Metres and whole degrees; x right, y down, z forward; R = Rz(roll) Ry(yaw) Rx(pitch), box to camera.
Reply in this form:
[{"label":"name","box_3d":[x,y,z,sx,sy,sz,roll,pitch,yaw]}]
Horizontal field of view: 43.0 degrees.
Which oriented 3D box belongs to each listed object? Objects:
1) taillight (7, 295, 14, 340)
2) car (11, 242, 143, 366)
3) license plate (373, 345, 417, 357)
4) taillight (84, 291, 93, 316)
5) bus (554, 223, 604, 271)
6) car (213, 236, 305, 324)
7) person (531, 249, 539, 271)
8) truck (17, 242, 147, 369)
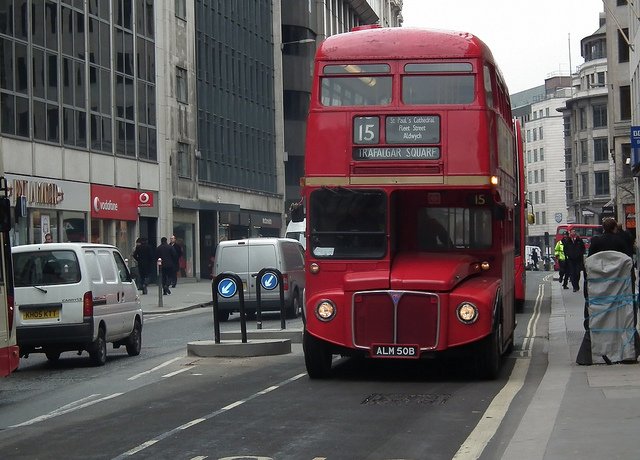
[{"label":"taillight","box_3d":[-4.410,1.228,11.610,0.051,0.600,0.219,-2,-2,-4]},{"label":"car","box_3d":[-4.533,1.314,15.939,1.443,1.713,2.905,-2,-1,14]},{"label":"license plate","box_3d":[1.070,1.759,11.731,0.631,0.193,0.027,-4,-2,7]},{"label":"taillight","box_3d":[-4.163,1.336,14.655,0.070,0.436,0.174,-4,-2,42]},{"label":"bus","box_3d":[26.787,1.698,83.798,8.373,5.086,2.631,0,3,-27]},{"label":"car","box_3d":[-1.573,1.510,25.342,2.277,2.511,4.185,-3,-2,11]},{"label":"person","box_3d":[18.879,2.561,71.928,0.399,1.475,2.991,-3,-2,15]},{"label":"truck","box_3d":[-4.522,1.340,15.932,1.450,1.713,2.861,-2,-2,14]}]
